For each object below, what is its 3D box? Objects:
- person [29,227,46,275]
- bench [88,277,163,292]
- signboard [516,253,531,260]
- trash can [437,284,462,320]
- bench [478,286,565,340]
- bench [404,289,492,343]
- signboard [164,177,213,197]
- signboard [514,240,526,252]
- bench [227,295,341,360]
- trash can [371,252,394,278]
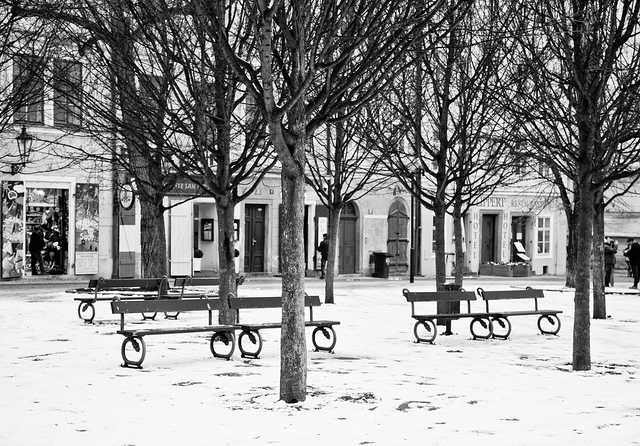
[{"bbox_3d":[-9.256,0.940,32.852,0.433,1.557,0.438,0,-3,-18],"label":"person"},{"bbox_3d":[-4.815,1.530,24.690,1.687,0.421,3.230,0,-5,-13],"label":"bench"},{"bbox_3d":[9.454,1.613,46.980,0.498,0.321,0.487,-2,-4,6],"label":"signboard"},{"bbox_3d":[2.829,1.758,22.006,0.515,0.773,0.899,-2,-4,10],"label":"trash can"},{"bbox_3d":[4.401,2.015,22.098,1.890,1.165,1.043,0,-3,-28],"label":"bench"},{"bbox_3d":[2.707,1.979,21.140,2.023,1.180,1.043,1,-4,-34],"label":"bench"},{"bbox_3d":[-4.808,-1.178,35.763,1.143,0.693,2.026,-1,-5,-8],"label":"signboard"},{"bbox_3d":[9.407,1.163,47.444,0.461,0.510,0.681,-4,-5,36],"label":"signboard"},{"bbox_3d":[-0.687,2.030,19.538,2.297,1.239,0.770,2,-6,-41],"label":"bench"},{"bbox_3d":[2.550,1.801,41.786,0.703,1.128,0.832,-1,1,-37],"label":"trash can"}]
